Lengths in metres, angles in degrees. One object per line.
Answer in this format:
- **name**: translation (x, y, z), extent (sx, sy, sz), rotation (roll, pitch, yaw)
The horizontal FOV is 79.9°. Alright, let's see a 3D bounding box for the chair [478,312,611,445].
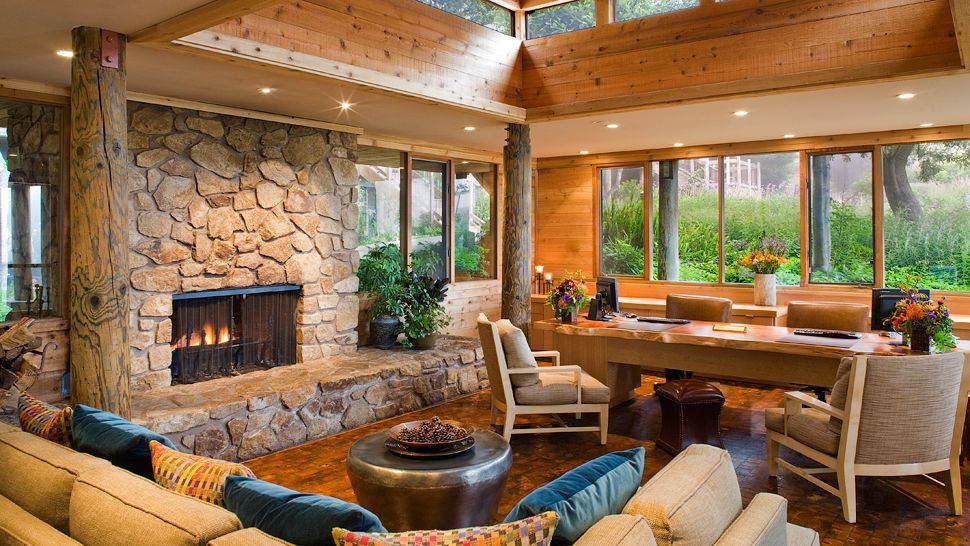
- **chair**: translation (0.476, 1.181, 6.472), extent (1.612, 1.157, 1.058), rotation (4, -2, -18)

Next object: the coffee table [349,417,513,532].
- **coffee table**: translation (-0.537, 1.778, 4.907), extent (1.395, 0.668, 1.288), rotation (2, 2, 17)

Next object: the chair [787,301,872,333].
- **chair**: translation (3.942, 0.599, 6.665), extent (0.574, 0.460, 0.506), rotation (-1, -17, 30)

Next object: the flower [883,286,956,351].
- **flower**: translation (4.031, 0.421, 5.510), extent (0.729, 0.600, 0.601), rotation (-5, 5, -33)

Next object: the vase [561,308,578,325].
- **vase**: translation (1.001, 0.502, 6.874), extent (0.207, 0.160, 0.170), rotation (0, 4, -22)

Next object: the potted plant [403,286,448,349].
- **potted plant**: translation (-0.914, 0.560, 7.801), extent (0.771, 0.865, 0.678), rotation (-5, 3, -8)

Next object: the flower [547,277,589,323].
- **flower**: translation (1.028, 0.362, 6.999), extent (0.498, 0.421, 0.414), rotation (-6, 6, -22)

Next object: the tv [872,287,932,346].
- **tv**: translation (4.092, 0.429, 5.684), extent (0.382, 0.487, 0.639), rotation (-2, 2, -37)

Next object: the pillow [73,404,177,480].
- **pillow**: translation (-2.608, 1.141, 4.001), extent (0.879, 0.489, 0.334), rotation (-13, 8, 40)

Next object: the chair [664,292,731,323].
- **chair**: translation (2.677, 0.451, 7.227), extent (0.473, 0.525, 0.504), rotation (-1, -9, 27)

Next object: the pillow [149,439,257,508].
- **pillow**: translation (-1.751, 1.229, 3.540), extent (0.649, 0.261, 0.215), rotation (19, 23, 12)

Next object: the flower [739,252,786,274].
- **flower**: translation (3.994, -0.160, 8.377), extent (0.463, 0.259, 0.431), rotation (-2, 2, -17)

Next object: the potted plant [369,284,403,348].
- **potted plant**: translation (-1.362, 0.569, 7.807), extent (0.287, 0.835, 0.555), rotation (-6, 4, -38)
